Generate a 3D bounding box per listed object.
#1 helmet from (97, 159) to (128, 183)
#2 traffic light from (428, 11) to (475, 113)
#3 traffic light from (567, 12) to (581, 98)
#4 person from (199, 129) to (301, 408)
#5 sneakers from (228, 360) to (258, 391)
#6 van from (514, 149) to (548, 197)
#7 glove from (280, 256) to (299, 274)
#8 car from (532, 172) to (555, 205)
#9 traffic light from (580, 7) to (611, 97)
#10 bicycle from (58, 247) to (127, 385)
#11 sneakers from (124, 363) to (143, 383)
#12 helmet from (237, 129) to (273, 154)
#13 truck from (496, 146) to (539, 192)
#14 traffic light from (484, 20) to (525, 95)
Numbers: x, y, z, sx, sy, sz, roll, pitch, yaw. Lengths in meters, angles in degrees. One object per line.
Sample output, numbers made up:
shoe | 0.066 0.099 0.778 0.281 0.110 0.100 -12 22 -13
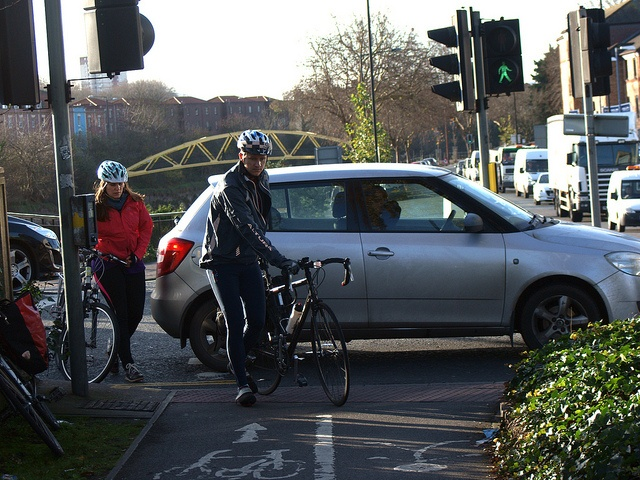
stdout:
helmet | -2.177 -0.712 7.535 0.291 0.221 0.372 -2 4 -20
traffic light | 1.900 -2.548 10.334 0.631 1.378 0.611 0 3 13
traffic light | 4.088 -2.958 11.488 0.225 1.342 0.503 0 3 20
person | -0.615 0.306 6.337 0.863 2.340 0.450 1 4 34
sneakers | -0.725 1.247 6.645 0.142 0.195 0.447 -3 6 -23
van | 11.994 -4.065 41.719 1.343 1.821 3.062 -1 2 1
glove | -0.241 0.207 5.933 0.129 0.093 0.107 -4 1 -12
car | 11.231 -2.565 35.519 0.874 0.979 1.850 -1 2 -4
traffic light | 4.289 -2.940 11.150 0.438 1.325 0.588 0 3 21
bicycle | -2.318 0.754 7.273 0.685 1.333 1.007 -2 4 -21
sneakers | -1.918 1.359 7.402 0.100 0.137 0.287 -13 4 -25
helmet | -0.568 -0.852 6.278 0.272 0.228 0.339 -1 4 -8
truck | 13.609 -5.356 51.710 2.065 2.316 3.670 -2 0 -3
traffic light | 2.575 -2.572 10.155 0.566 1.044 0.253 0 3 16
